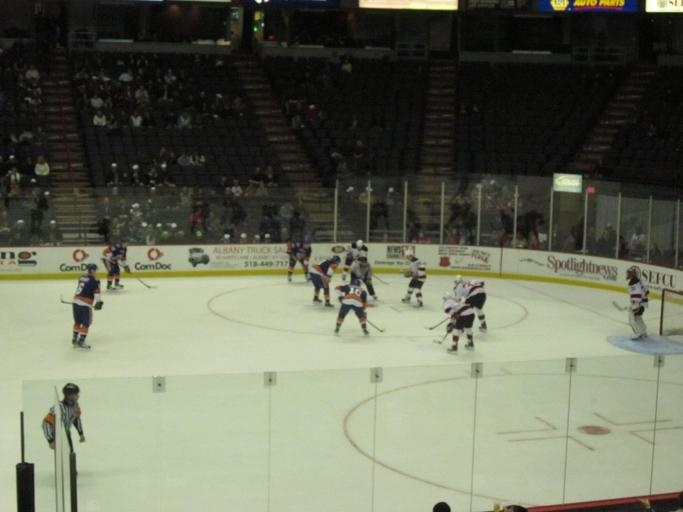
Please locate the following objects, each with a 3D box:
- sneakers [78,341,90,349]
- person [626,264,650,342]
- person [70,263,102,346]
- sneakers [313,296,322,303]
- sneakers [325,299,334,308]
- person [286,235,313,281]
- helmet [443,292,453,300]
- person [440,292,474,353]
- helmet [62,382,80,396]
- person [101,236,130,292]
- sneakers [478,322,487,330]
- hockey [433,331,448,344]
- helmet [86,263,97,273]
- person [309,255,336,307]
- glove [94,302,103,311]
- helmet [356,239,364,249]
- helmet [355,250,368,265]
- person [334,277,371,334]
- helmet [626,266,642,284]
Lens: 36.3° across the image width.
[{"bbox_3d":[-5.623,1.960,22.789,0.175,0.080,0.133,16,1,11],"label":"sneakers"},{"bbox_3d":[6.816,1.079,23.899,0.518,1.653,0.574,5,14,17],"label":"person"},{"bbox_3d":[-5.738,1.044,23.321,0.665,1.727,1.556,-3,14,-15],"label":"person"},{"bbox_3d":[-0.617,1.120,26.821,0.109,0.187,0.249,8,17,20],"label":"sneakers"},{"bbox_3d":[-0.324,1.223,26.527,0.247,0.222,0.108,-2,10,-9],"label":"sneakers"},{"bbox_3d":[-1.193,0.122,29.465,0.623,1.281,0.915,-1,14,-6],"label":"person"},{"bbox_3d":[2.353,0.875,23.043,0.120,0.174,0.160,11,-1,43],"label":"helmet"},{"bbox_3d":[2.643,1.481,23.223,0.685,1.249,1.181,2,14,7],"label":"person"},{"bbox_3d":[-4.201,2.079,16.161,0.167,0.204,0.223,2,-27,1],"label":"helmet"},{"bbox_3d":[-6.093,0.205,28.200,0.668,1.418,1.545,-3,14,-13],"label":"person"},{"bbox_3d":[3.380,1.653,24.538,0.119,0.215,0.209,-2,16,-13],"label":"sneakers"},{"bbox_3d":[2.308,1.843,23.615,0.243,0.377,0.210,13,17,-24],"label":"hockey"},{"bbox_3d":[-5.820,0.291,24.219,0.275,0.233,0.213,-6,17,-16],"label":"helmet"},{"bbox_3d":[-0.437,0.629,26.548,0.700,1.445,1.249,0,14,-2],"label":"person"},{"bbox_3d":[-5.658,1.178,24.472,0.210,0.248,0.242,8,-1,-24],"label":"glove"},{"bbox_3d":[0.482,-0.310,27.013,0.180,0.252,0.249,7,8,3],"label":"helmet"},{"bbox_3d":[0.507,0.050,26.926,0.256,0.290,0.165,15,35,-13],"label":"helmet"},{"bbox_3d":[0.259,1.135,23.492,0.814,1.434,0.505,10,-32,-6],"label":"person"},{"bbox_3d":[7.072,0.456,25.043,0.331,0.471,0.468,-9,-11,11],"label":"helmet"}]
